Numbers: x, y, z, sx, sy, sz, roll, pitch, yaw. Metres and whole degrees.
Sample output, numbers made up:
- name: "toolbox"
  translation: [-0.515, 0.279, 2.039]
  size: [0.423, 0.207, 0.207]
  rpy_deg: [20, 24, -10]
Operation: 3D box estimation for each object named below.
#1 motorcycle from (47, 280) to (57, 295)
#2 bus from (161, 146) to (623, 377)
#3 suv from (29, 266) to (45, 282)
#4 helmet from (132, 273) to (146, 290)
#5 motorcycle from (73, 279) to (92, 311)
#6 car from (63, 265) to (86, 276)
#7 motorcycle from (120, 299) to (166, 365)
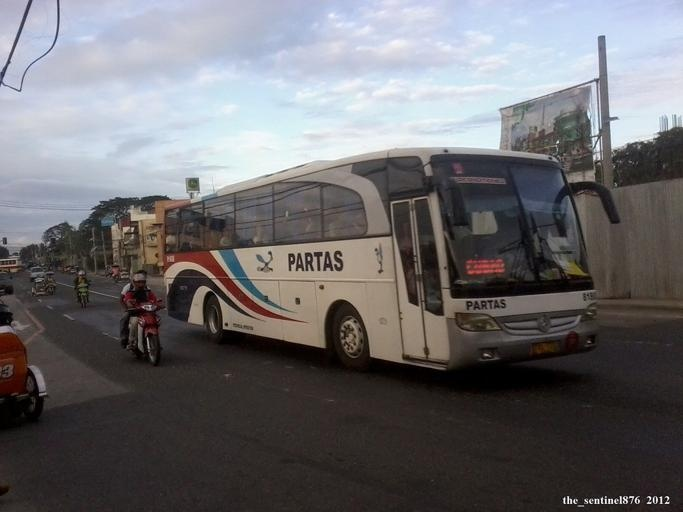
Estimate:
- name: "motorcycle"
  translation: [-25.882, 2.607, 42.479]
  size: [0.686, 1.584, 0.796]
  rpy_deg: [-6, 2, -16]
- name: "bus"
  translation: [-0.583, 0.131, 11.718]
  size: [3.836, 3.972, 12.015]
  rpy_deg: [0, -3, -31]
- name: "suv"
  translation: [-46.077, 2.489, 72.429]
  size: [2.147, 1.575, 4.699]
  rpy_deg: [-1, -1, -30]
- name: "helmet"
  translation: [-4.502, 0.530, 10.698]
  size: [0.304, 0.384, 0.399]
  rpy_deg: [1, -6, -29]
- name: "motorcycle"
  translation: [-14.969, 2.107, 27.701]
  size: [0.592, 1.720, 1.800]
  rpy_deg: [-7, 3, -32]
- name: "car"
  translation: [-53.502, 2.659, 95.427]
  size: [2.094, 1.848, 6.990]
  rpy_deg: [-5, 5, -40]
- name: "motorcycle"
  translation: [-4.375, 1.698, 10.758]
  size: [0.638, 1.412, 1.614]
  rpy_deg: [-7, 3, -35]
